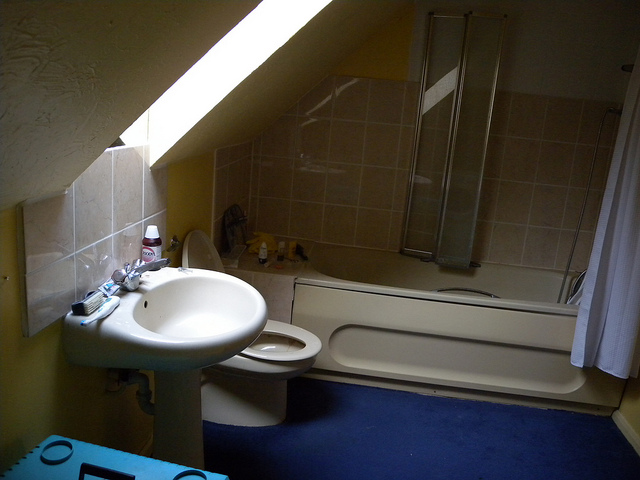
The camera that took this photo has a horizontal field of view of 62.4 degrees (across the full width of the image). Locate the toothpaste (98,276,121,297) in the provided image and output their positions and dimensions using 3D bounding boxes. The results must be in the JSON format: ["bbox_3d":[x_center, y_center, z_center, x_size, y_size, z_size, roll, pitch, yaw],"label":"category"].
[{"bbox_3d":[-0.729,0.169,1.828,0.046,0.033,0.091,5,7,-3],"label":"toothpaste"}]

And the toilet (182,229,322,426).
[{"bbox_3d":[-0.362,0.460,2.790,0.726,0.949,0.558,3,5,1],"label":"toilet"}]

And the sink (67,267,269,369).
[{"bbox_3d":[-0.488,0.300,1.918,0.591,0.186,0.675,9,13,2],"label":"sink"}]

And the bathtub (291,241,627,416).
[{"bbox_3d":[0.815,0.525,3.419,1.940,0.741,0.892,6,7,2],"label":"bathtub"}]

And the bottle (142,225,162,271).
[{"bbox_3d":[-0.679,0.029,2.133,0.073,0.164,0.231,3,7,-18],"label":"bottle"}]

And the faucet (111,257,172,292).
[{"bbox_3d":[-0.668,0.124,2.001,0.099,0.094,0.290,6,7,10],"label":"faucet"}]

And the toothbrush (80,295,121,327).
[{"bbox_3d":[-0.718,0.217,1.721,0.039,0.026,0.181,8,21,6],"label":"toothbrush"}]
